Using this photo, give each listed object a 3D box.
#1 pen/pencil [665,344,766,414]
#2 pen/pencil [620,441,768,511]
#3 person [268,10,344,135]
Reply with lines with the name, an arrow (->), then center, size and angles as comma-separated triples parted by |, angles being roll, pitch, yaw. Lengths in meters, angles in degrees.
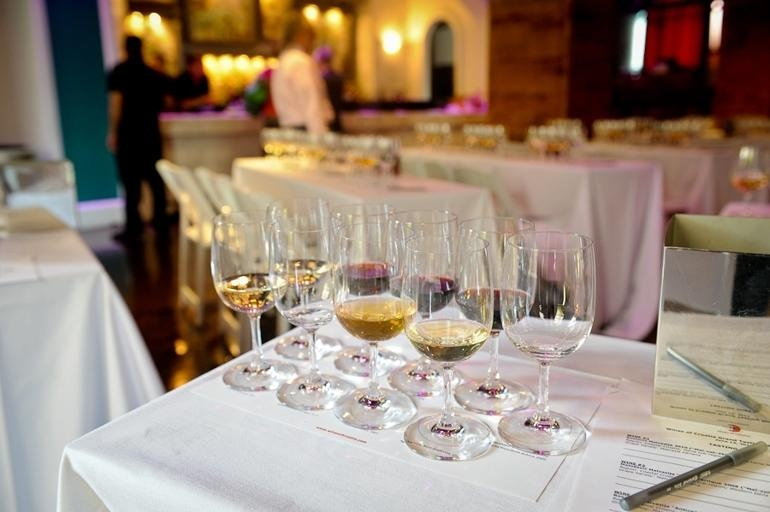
pen/pencil -> 0.495, 0.179, 0.890 | 0.141, 0.021, 0.022 | 42, 3, 22
pen/pencil -> 0.428, 0.307, 0.827 | 0.184, 0.021, 0.020 | -16, -9, -16
person -> -0.551, -1.200, 3.935 | 0.349, 0.776, 0.643 | -10, 15, -16
